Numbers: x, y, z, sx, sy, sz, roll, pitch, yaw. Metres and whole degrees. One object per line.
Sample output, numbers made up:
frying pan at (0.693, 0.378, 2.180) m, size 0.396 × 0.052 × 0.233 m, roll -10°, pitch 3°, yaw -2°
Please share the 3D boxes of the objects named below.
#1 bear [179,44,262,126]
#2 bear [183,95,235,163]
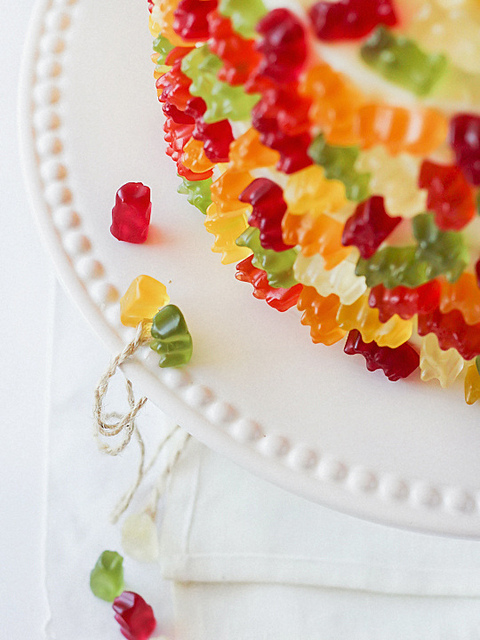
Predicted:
bear at (-0.018, -0.127, 0.396) m, size 0.019 × 0.052 × 0.048 m, roll -37°, pitch -89°, yaw -8°
bear at (-0.018, -0.106, 0.417) m, size 0.035 × 0.014 × 0.034 m, roll -8°, pitch -83°, yaw 15°
